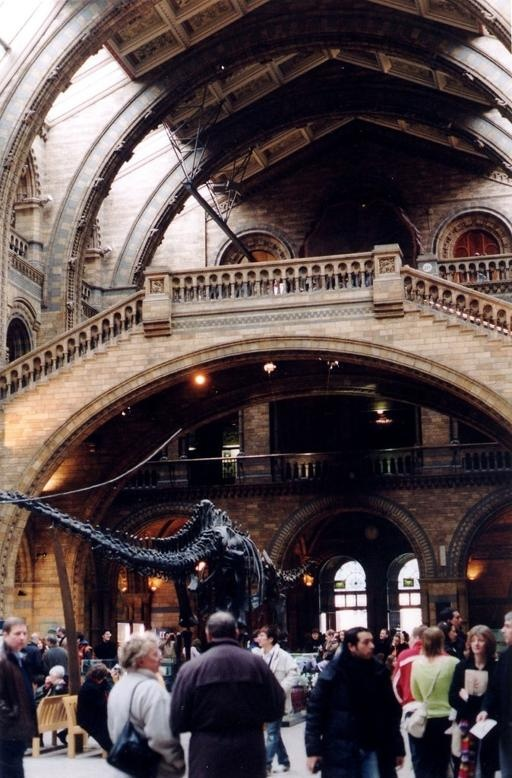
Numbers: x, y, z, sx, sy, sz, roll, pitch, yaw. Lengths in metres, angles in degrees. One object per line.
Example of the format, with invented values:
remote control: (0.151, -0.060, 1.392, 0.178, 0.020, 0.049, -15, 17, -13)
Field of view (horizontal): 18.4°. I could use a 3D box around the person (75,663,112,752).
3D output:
person: (-1.736, 3.356, 17.239, 0.415, 0.765, 0.348, 9, 19, 31)
